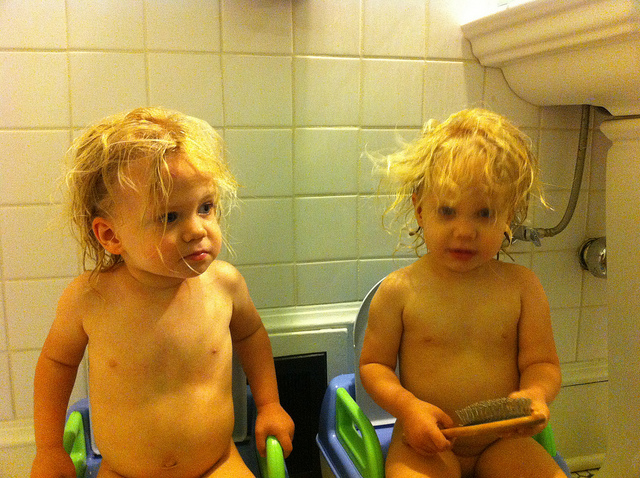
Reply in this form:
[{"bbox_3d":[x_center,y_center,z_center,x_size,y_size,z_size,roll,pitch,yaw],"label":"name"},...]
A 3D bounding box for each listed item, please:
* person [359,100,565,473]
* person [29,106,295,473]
[{"bbox_3d":[0.293,0.073,1.292,0.457,0.796,0.609,-1,5,14],"label":"person"},{"bbox_3d":[-0.325,0.106,1.125,0.507,0.730,0.182,-3,6,-9],"label":"person"}]
